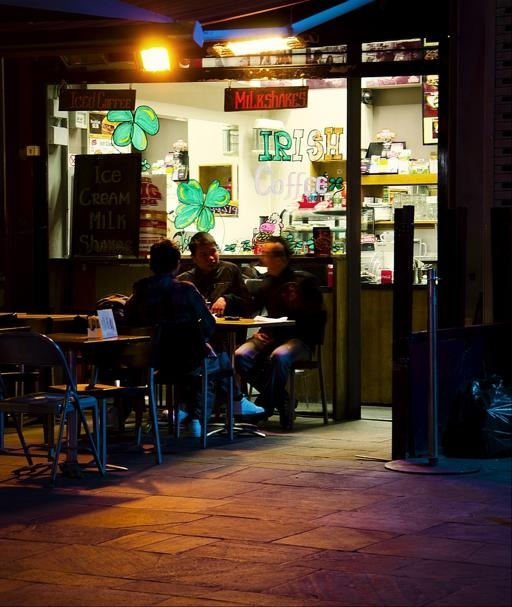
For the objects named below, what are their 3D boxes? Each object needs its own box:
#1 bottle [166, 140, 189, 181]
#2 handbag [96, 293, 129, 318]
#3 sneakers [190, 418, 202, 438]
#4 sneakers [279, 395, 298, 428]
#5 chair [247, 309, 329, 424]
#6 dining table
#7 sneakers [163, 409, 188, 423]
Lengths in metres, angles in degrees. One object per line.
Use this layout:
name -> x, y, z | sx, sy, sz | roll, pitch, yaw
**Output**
bottle -> -0.920, -1.669, 7.122 | 0.255, 0.499, 0.089 | -3, 0, -7
handbag -> -1.264, 0.009, 5.438 | 0.324, 0.110, 0.236 | -6, -6, 30
sneakers -> -0.504, 1.047, 5.089 | 0.141, 0.149, 0.137 | 2, -2, 9
sneakers -> 0.293, 1.005, 5.554 | 0.111, 0.333, 0.147 | 4, 0, 18
chair -> 0.357, 0.613, 5.861 | 0.610, 0.890, 0.606 | 1, -4, -39
dining table -> -0.151, 0.581, 5.093 | 1.052, 0.964, 1.054 | -1, 0, 42
sneakers -> -0.728, 1.030, 5.600 | 0.214, 0.101, 0.290 | 1, -4, -3
